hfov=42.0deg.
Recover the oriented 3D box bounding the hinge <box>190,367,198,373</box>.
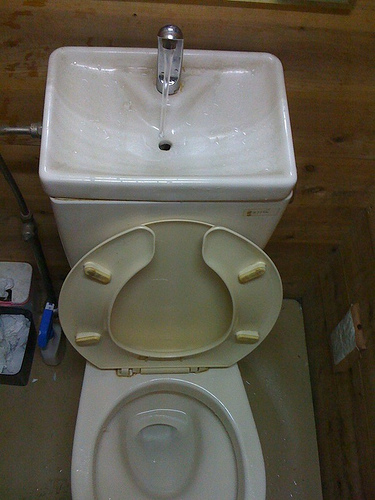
[{"bbox_3d":[0.013,0.268,1.103,0.014,0.003,0.012,1,98,-6],"label":"hinge"}]

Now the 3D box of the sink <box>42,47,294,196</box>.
[{"bbox_3d":[-0.033,-0.234,0.882,0.426,0.094,0.310,-1,58,-4],"label":"sink"}]

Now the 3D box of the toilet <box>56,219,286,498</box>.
[{"bbox_3d":[-0.044,0.245,0.969,0.439,0.498,0.447,5,59,0],"label":"toilet"}]
